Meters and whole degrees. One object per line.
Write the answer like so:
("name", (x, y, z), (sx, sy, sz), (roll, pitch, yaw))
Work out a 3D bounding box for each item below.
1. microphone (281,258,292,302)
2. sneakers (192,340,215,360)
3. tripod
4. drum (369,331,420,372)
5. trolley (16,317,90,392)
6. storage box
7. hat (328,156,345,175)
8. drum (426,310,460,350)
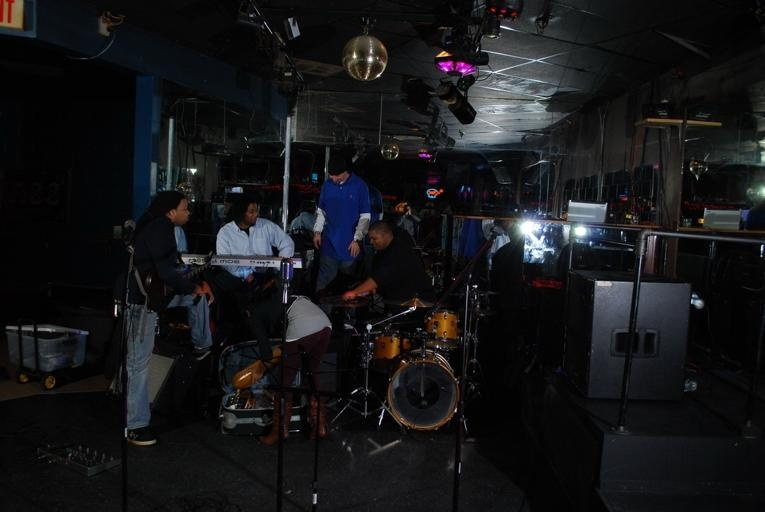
("microphone", (-0.842, 0.231, 5.214), (0.097, 0.390, 0.311), (2, 4, -9))
("sneakers", (-2.054, 1.073, 6.783), (0.184, 0.213, 0.218), (1, 4, -19))
("tripod", (-0.228, 1.468, 6.845), (0.822, 1.177, 0.872), (2, -10, 8))
("drum", (0.112, 1.021, 6.754), (0.462, 0.341, 0.470), (12, 0, 0))
("trolley", (-4.179, 1.187, 7.381), (0.896, 0.803, 0.596), (2, 4, -7))
("storage box", (-4.262, 1.093, 7.441), (0.812, 0.493, 0.581), (5, 2, 37))
("hat", (-0.580, -1.161, 7.620), (0.186, 0.176, 0.217), (8, 1, 9))
("drum", (0.676, 0.846, 6.727), (0.387, 0.364, 0.385), (2, -17, 1))
